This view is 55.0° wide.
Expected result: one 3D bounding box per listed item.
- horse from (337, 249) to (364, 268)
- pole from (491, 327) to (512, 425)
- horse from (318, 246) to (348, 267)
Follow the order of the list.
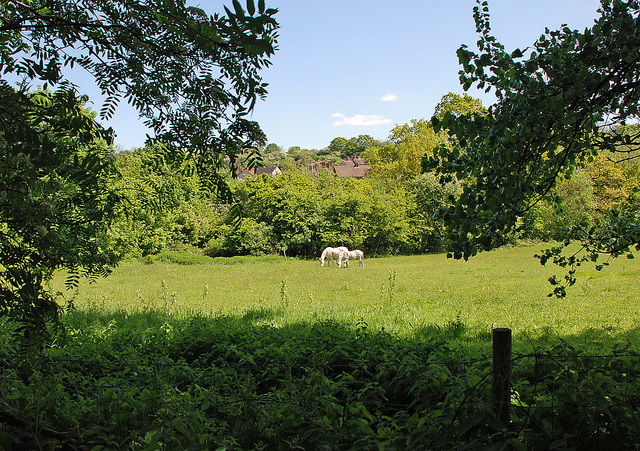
[{"bbox_3d":[1.263,1.350,25.307,0.981,0.752,1.674,1,-4,1],"label":"horse"},{"bbox_3d":[1.588,1.307,5.349,0.169,0.826,0.249,0,-4,16],"label":"pole"},{"bbox_3d":[0.462,1.222,26.132,0.488,1.064,1.850,-7,0,41],"label":"horse"}]
